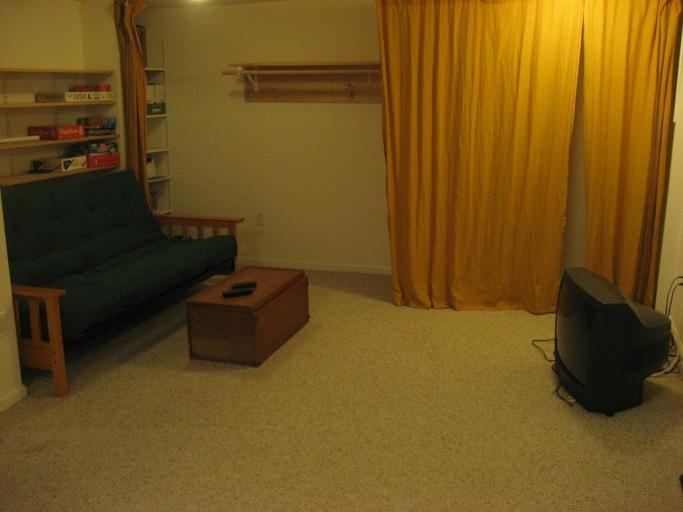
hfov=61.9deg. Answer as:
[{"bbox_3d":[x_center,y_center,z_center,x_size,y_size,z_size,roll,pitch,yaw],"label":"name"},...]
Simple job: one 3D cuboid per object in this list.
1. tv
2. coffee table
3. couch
[{"bbox_3d":[1.654,0.500,3.472,0.595,0.692,0.705,-1,16,8],"label":"tv"},{"bbox_3d":[-0.660,0.412,4.204,0.596,0.410,0.939,2,14,15],"label":"coffee table"},{"bbox_3d":[-1.615,0.202,4.091,0.747,0.731,1.505,5,17,19],"label":"couch"}]
